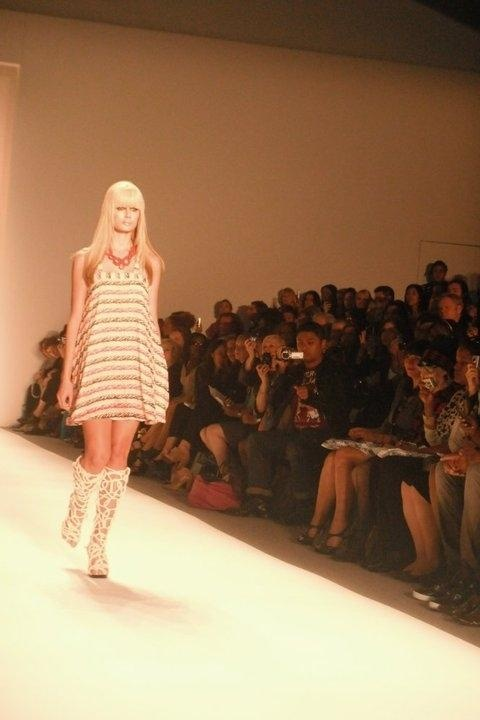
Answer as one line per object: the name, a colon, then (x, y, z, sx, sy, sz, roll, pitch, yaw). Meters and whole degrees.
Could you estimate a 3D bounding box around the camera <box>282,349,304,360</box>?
camera: (0.293, -0.017, 3.317, 0.092, 0.052, 0.033, 2, 1, 25)

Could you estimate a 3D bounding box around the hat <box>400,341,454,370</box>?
hat: (0.851, -0.026, 2.629, 0.144, 0.077, 0.107, 18, 0, 10)

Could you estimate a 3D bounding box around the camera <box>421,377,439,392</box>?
camera: (0.824, 0.104, 2.535, 0.021, 0.053, 0.050, 1, -37, -19)

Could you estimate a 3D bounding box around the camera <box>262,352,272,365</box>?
camera: (0.162, -0.011, 3.482, 0.018, 0.063, 0.068, 8, 2, -35)

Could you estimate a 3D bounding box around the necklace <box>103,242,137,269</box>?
necklace: (-0.416, -0.367, 2.056, 0.113, 0.073, 0.009, -9, 3, -26)
